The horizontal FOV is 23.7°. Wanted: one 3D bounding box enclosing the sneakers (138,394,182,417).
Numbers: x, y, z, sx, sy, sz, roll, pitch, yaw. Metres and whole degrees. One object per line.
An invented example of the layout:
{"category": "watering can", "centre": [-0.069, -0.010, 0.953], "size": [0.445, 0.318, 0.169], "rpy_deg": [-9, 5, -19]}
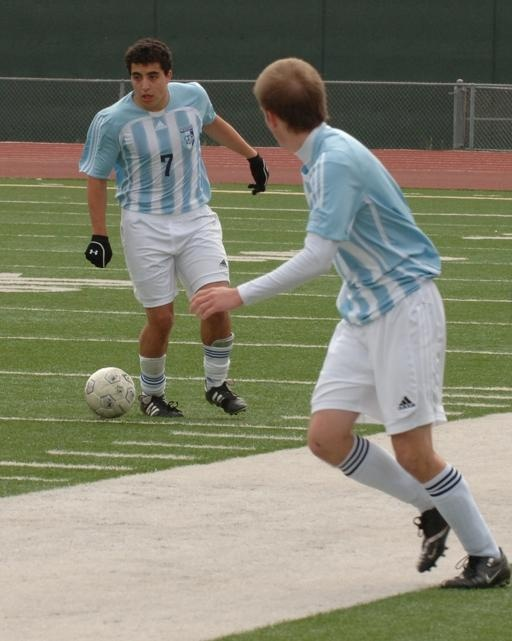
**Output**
{"category": "sneakers", "centre": [-0.550, 0.485, 6.879], "size": [0.287, 0.098, 0.102], "rpy_deg": [2, 10, 36]}

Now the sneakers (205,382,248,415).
{"category": "sneakers", "centre": [-0.172, 0.448, 6.869], "size": [0.123, 0.130, 0.313], "rpy_deg": [-22, 18, -36]}

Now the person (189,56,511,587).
{"category": "person", "centre": [0.383, 0.004, 4.255], "size": [1.108, 1.810, 0.503], "rpy_deg": [3, 14, 11]}

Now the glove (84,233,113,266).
{"category": "glove", "centre": [-0.929, -0.401, 6.797], "size": [0.235, 0.165, 0.143], "rpy_deg": [6, 16, 15]}

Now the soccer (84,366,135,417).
{"category": "soccer", "centre": [-0.837, 0.398, 6.792], "size": [0.279, 0.235, 0.215], "rpy_deg": [12, 28, -20]}

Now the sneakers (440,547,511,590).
{"category": "sneakers", "centre": [0.702, 0.860, 4.171], "size": [0.340, 0.097, 0.093], "rpy_deg": [-1, -9, -2]}
